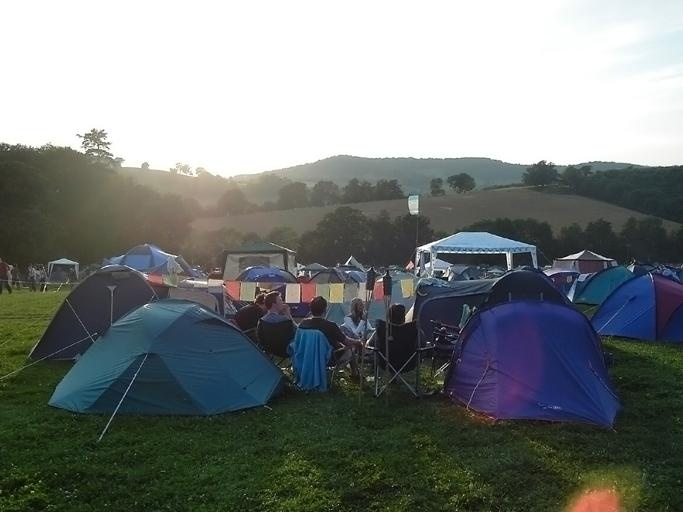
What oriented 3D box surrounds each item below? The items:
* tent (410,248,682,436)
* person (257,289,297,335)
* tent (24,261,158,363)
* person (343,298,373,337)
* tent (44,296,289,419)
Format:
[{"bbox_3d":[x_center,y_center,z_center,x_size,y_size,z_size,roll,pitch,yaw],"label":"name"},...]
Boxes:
[{"bbox_3d":[2.441,1.368,8.867,2.149,1.185,3.076,-5,9,-18],"label":"tent"},{"bbox_3d":[-1.196,0.980,9.654,0.821,0.757,0.453,-5,0,32],"label":"person"},{"bbox_3d":[-4.715,1.066,10.573,2.104,1.314,1.879,2,0,-10],"label":"tent"},{"bbox_3d":[0.265,1.170,10.209,0.511,0.828,0.545,1,3,-5],"label":"person"},{"bbox_3d":[-2.463,1.584,8.008,1.843,0.954,2.015,1,-2,9],"label":"tent"}]
